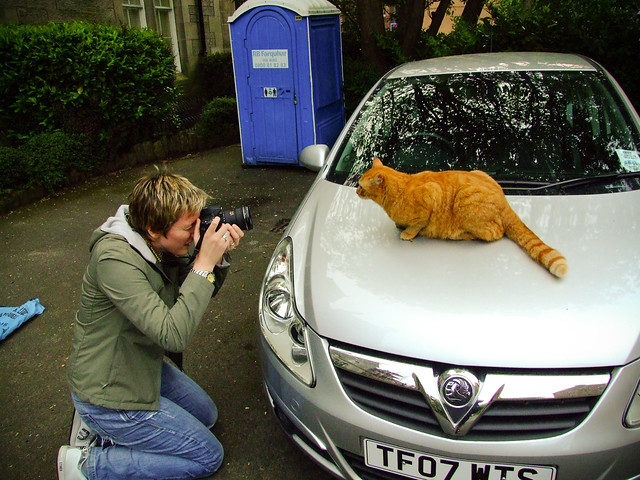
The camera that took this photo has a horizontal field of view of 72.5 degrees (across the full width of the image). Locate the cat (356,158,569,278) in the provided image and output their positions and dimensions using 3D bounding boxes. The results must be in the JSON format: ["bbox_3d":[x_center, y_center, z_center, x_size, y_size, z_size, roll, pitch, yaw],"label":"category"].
[{"bbox_3d":[0.651,-0.072,2.266,0.709,0.281,0.542,-4,46,12],"label":"cat"}]

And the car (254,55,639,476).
[{"bbox_3d":[0.847,-0.113,2.861,1.516,1.377,2.915,-2,26,14],"label":"car"}]
